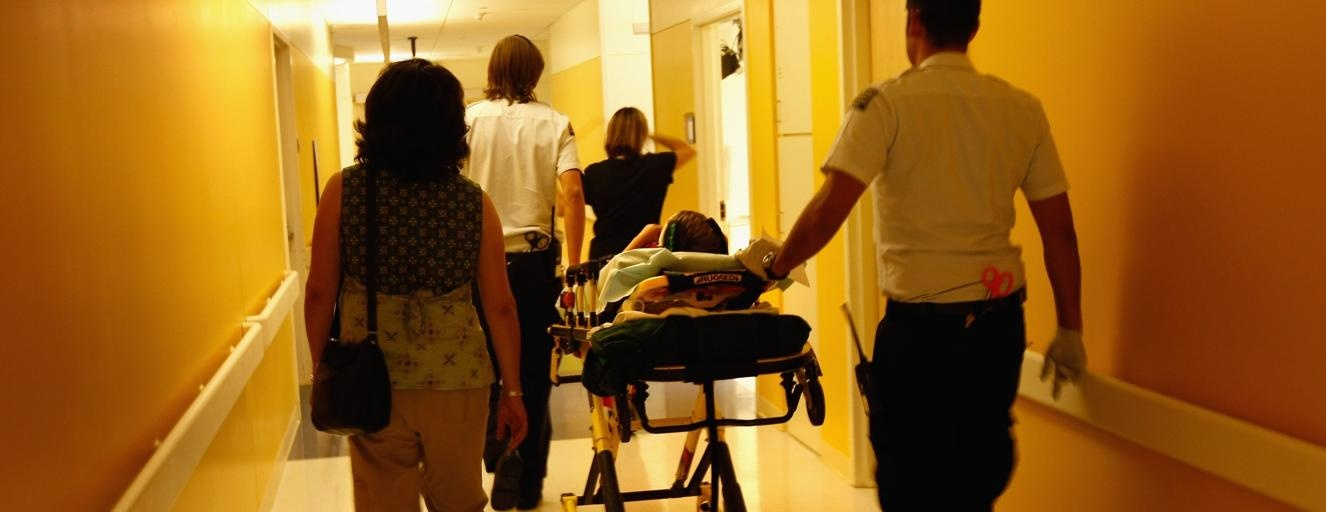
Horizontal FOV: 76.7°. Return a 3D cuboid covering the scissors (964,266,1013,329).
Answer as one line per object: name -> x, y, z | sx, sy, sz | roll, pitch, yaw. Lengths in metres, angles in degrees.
scissors -> 1.872, 0.232, 4.877 | 0.375, 0.228, 0.125 | -45, 11, -12

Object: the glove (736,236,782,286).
glove -> 0.591, 0.041, 5.139 | 0.177, 0.260, 0.325 | 25, -1, -42

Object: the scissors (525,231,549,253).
scissors -> -0.957, -0.112, 6.348 | 0.139, 0.056, 0.180 | -23, 42, -31
